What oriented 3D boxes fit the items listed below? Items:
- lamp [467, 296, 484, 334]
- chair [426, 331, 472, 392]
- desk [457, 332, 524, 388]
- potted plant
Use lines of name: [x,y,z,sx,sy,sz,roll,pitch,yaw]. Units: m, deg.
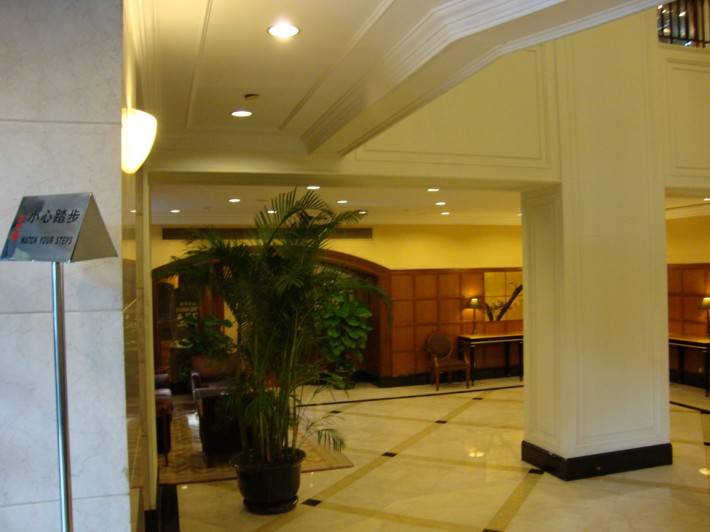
lamp: [2.526,0.988,11.670,0.254,0.782,0.447,-2,0,25]
chair: [1.793,1.805,10.881,0.869,1.072,0.917,-2,-3,24]
desk: [2.877,1.851,11.426,1.126,0.790,0.604,-4,-15,9]
potted plant: [-0.900,0.719,5.584,2.084,3.197,2.063,-7,-18,25]
